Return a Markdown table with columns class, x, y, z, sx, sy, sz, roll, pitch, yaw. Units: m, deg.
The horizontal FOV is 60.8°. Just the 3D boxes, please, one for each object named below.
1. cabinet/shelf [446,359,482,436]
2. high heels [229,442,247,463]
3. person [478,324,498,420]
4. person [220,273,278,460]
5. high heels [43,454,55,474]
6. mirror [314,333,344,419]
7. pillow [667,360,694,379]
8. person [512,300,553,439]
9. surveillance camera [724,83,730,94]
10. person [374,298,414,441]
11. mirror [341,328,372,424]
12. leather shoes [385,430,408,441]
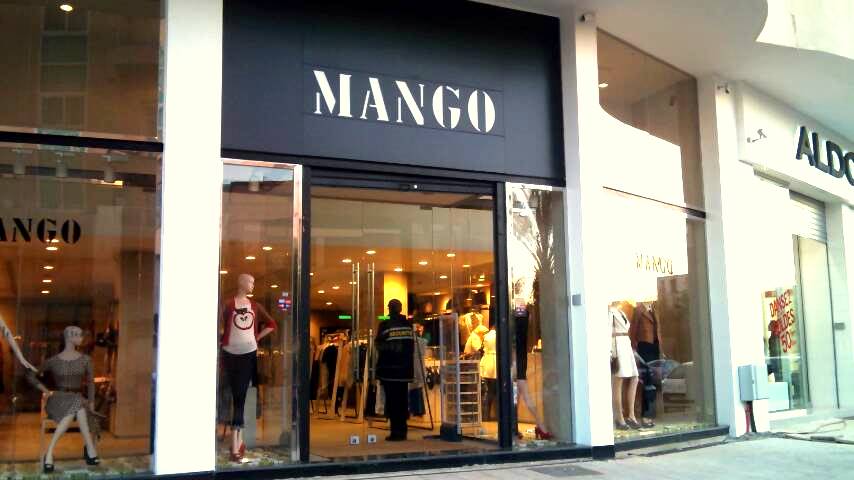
| class | x | y | z | sx | sy | sz | roll | pitch | yaw |
| --- | --- | --- | --- | --- | --- | --- | --- | --- | --- |
| cabinet/shelf | 0.608 | 2.558 | 11.845 | 0.649 | 1.016 | 0.668 | 2 | -13 | -10 |
| high heels | -2.557 | 2.923 | 9.852 | 0.108 | 0.129 | 0.338 | 2 | 8 | -3 |
| person | 0.967 | 2.051 | 11.231 | 0.192 | 1.490 | 0.606 | 0 | -10 | -22 |
| person | -2.461 | 1.756 | 9.960 | 0.641 | 2.528 | 0.248 | -1 | -10 | -13 |
| high heels | -5.130 | 3.084 | 9.909 | 0.103 | 0.102 | 0.357 | 3 | 10 | -24 |
| mirror | -1.742 | 2.384 | 12.975 | 0.516 | 1.355 | 1.125 | -2 | -9 | -9 |
| pillow | 4.321 | 2.269 | 12.572 | 0.321 | 0.284 | 0.347 | 3 | -15 | -20 |
| person | 1.564 | 2.005 | 11.125 | 0.504 | 2.150 | 0.197 | 6 | -13 | -44 |
| surveillance camera | 5.406 | -2.718 | 13.160 | 0.112 | 0.140 | 0.047 | -5 | 11 | -38 |
| person | -0.512 | 2.150 | 12.045 | 0.686 | 2.274 | 0.239 | -3 | -10 | -7 |
| mirror | -1.182 | 2.297 | 12.129 | 0.325 | 1.411 | 0.598 | 5 | -12 | -41 |
| leather shoes | -0.486 | 3.218 | 11.816 | 0.349 | 0.219 | 0.126 | 3 | -11 | -3 |
